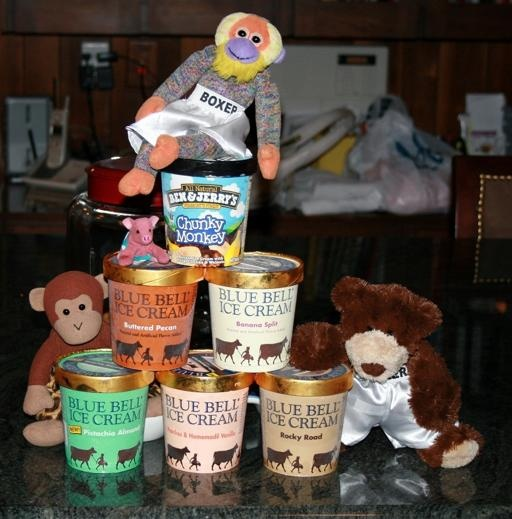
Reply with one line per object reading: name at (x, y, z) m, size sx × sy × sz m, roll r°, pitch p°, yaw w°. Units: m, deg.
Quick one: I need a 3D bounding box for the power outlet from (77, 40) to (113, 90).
power outlet at (-0.427, -0.513, 1.731) m, size 0.064 × 0.106 × 0.076 m, roll -38°, pitch 39°, yaw -25°

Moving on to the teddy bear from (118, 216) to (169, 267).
teddy bear at (-0.198, -0.031, 1.111) m, size 0.098 × 0.070 × 0.074 m, roll -6°, pitch 19°, yaw -33°

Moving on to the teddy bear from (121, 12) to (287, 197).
teddy bear at (-0.087, -0.258, 1.089) m, size 0.287 × 0.298 × 0.172 m, roll -2°, pitch 16°, yaw -15°
